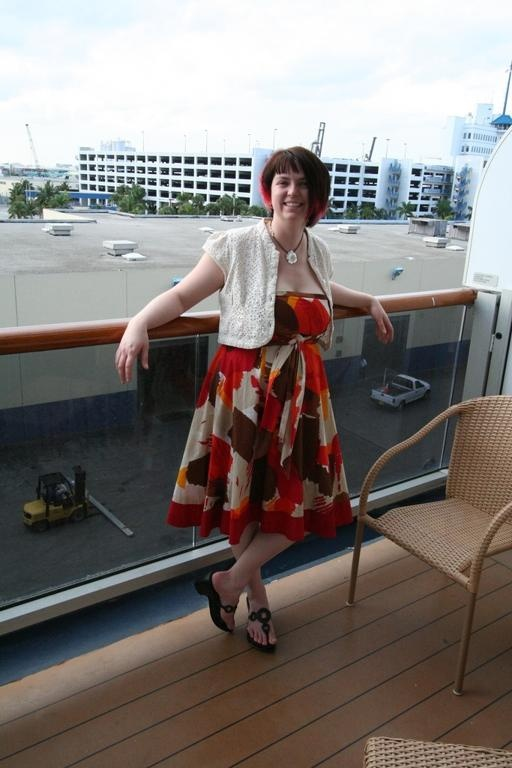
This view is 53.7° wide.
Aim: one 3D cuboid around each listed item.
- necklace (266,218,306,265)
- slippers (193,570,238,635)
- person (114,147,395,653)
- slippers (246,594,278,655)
[{"bbox_3d":[0.075,-0.363,1.284,0.092,0.116,0.040,-20,17,-14],"label":"necklace"},{"bbox_3d":[-0.112,0.648,1.521,0.090,0.222,0.082,-5,10,28],"label":"slippers"},{"bbox_3d":[-0.025,0.079,1.440,0.715,1.363,0.369,0,10,-14],"label":"person"},{"bbox_3d":[0.018,0.713,1.467,0.051,0.058,0.161,-1,2,-8],"label":"slippers"}]
